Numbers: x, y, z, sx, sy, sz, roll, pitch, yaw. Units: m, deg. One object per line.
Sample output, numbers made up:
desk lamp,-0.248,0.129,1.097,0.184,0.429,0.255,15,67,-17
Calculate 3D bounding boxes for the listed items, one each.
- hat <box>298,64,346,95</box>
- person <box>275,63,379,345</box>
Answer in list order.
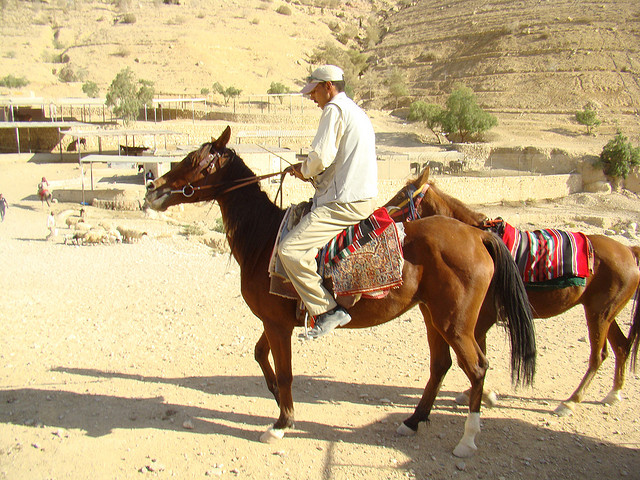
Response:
hat,0.026,-2.323,8.847,0.559,0.349,0.399,-3,15,5
person,0.121,-0.450,8.805,1.365,3.997,0.869,0,11,-7
